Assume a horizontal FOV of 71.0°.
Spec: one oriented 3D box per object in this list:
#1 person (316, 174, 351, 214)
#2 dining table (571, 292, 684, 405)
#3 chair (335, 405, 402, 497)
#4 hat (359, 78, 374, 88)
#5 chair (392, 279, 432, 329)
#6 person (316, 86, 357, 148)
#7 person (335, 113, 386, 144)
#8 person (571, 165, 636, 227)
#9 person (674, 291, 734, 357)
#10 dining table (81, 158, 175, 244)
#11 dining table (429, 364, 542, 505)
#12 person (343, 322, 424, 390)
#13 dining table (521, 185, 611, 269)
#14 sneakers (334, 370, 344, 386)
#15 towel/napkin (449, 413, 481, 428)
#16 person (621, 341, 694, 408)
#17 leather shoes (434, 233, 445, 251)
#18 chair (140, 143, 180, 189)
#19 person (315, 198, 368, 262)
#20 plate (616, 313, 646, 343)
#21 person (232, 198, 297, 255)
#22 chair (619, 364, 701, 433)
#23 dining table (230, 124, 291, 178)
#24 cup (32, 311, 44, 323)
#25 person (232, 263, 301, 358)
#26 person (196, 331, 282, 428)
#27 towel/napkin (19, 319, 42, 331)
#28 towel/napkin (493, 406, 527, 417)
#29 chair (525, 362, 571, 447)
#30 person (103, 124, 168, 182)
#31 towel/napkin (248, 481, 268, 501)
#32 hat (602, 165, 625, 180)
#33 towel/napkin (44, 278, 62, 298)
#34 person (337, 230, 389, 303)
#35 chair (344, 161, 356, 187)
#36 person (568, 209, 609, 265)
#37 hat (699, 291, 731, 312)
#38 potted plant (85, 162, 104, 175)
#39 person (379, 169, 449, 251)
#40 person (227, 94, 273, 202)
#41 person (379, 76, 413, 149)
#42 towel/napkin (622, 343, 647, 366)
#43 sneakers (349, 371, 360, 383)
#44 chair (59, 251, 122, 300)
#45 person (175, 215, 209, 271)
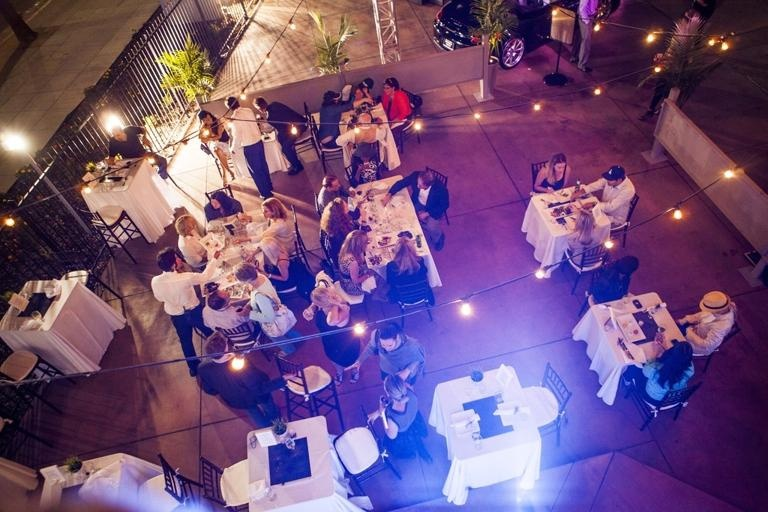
[{"bbox_3d":[-1.063,-1.272,11.354,0.544,1.021,0.517,0,75,1],"label":"person"},{"bbox_3d":[4.268,1.424,9.605,1.822,0.979,1.891,-22,58,12],"label":"dining table"},{"bbox_3d":[-0.249,3.383,9.165,0.870,1.026,1.535,-27,15,-9],"label":"chair"},{"bbox_3d":[-0.433,-4.160,13.184,0.260,0.326,0.240,16,17,11],"label":"hat"},{"bbox_3d":[0.547,0.941,10.470,0.586,1.070,0.695,-8,65,2],"label":"chair"},{"bbox_3d":[-1.141,-3.291,12.978,0.952,1.424,0.690,-37,64,-19],"label":"person"},{"bbox_3d":[-0.489,-2.885,12.552,0.656,0.609,1.145,25,52,40],"label":"person"},{"bbox_3d":[4.495,-1.162,10.970,0.749,1.249,0.575,-19,78,20],"label":"person"},{"bbox_3d":[5.668,1.257,9.496,0.400,1.035,0.514,17,75,13],"label":"person"},{"bbox_3d":[-5.893,-1.186,12.260,1.136,1.404,1.224,18,61,15],"label":"dining table"},{"bbox_3d":[1.724,3.032,9.167,1.588,1.577,1.362,-14,37,1],"label":"dining table"},{"bbox_3d":[0.138,1.819,9.413,1.082,1.778,0.648,17,47,35],"label":"person"},{"bbox_3d":[3.643,-0.608,10.785,1.628,1.239,1.684,-18,62,5],"label":"dining table"},{"bbox_3d":[-0.861,2.306,10.163,0.139,0.130,0.359,1,41,3],"label":"sneakers"},{"bbox_3d":[1.333,2.722,8.843,0.458,0.098,0.222,-7,38,9],"label":"towel/napkin"},{"bbox_3d":[4.678,1.977,9.154,0.489,1.307,0.844,-16,59,13],"label":"person"},{"bbox_3d":[1.202,-0.285,11.586,0.148,0.262,0.433,12,78,20],"label":"leather shoes"},{"bbox_3d":[-5.391,-2.105,12.964,0.329,1.381,0.518,-15,87,-19],"label":"chair"},{"bbox_3d":[-0.861,-0.560,10.594,0.831,1.216,0.644,-7,25,-8],"label":"person"},{"bbox_3d":[4.367,1.293,9.561,0.379,0.280,0.452,-13,37,2],"label":"plate"},{"bbox_3d":[-2.219,-0.559,10.772,1.255,1.222,0.947,-4,57,-33],"label":"person"},{"bbox_3d":[4.791,2.489,9.334,0.692,1.170,0.760,-24,69,5],"label":"chair"},{"bbox_3d":[-2.983,-2.192,13.038,1.201,0.915,1.248,-13,50,-5],"label":"dining table"},{"bbox_3d":[-6.528,1.149,10.107,0.161,0.221,0.108,-62,19,-15],"label":"cup"},{"bbox_3d":[-2.219,1.141,10.040,0.851,2.055,0.790,-6,25,21],"label":"person"},{"bbox_3d":[-2.417,2.229,9.143,1.160,2.141,0.455,0,39,18],"label":"person"},{"bbox_3d":[-6.612,1.293,10.062,0.401,0.140,0.181,-4,39,14],"label":"towel/napkin"},{"bbox_3d":[2.007,2.556,8.871,0.653,0.197,0.185,-1,86,2],"label":"towel/napkin"},{"bbox_3d":[2.845,2.640,9.324,0.726,1.124,0.693,-27,55,-4],"label":"chair"},{"bbox_3d":[-5.951,-2.375,12.722,0.894,1.406,0.822,-48,30,2],"label":"person"},{"bbox_3d":[-1.979,3.693,8.492,0.299,0.165,0.237,-13,37,2],"label":"towel/napkin"},{"bbox_3d":[4.578,-1.593,10.659,0.445,0.277,0.332,4,59,7],"label":"hat"},{"bbox_3d":[-6.461,0.620,10.446,0.237,0.152,0.331,-7,56,-18],"label":"towel/napkin"},{"bbox_3d":[-0.437,0.214,10.331,0.691,1.161,0.499,-27,62,-16],"label":"person"},{"bbox_3d":[-0.777,-1.915,12.901,0.319,0.529,0.555,4,82,5],"label":"chair"},{"bbox_3d":[3.968,-0.349,10.413,0.585,0.823,0.826,-6,61,10],"label":"person"},{"bbox_3d":[5.576,0.794,9.075,0.371,0.158,0.414,-45,27,-12],"label":"hat"},{"bbox_3d":[-6.580,-2.021,12.286,0.345,0.361,0.187,-5,82,-2],"label":"potted plant"},{"bbox_3d":[0.613,-0.891,11.171,1.049,1.547,0.894,43,91,7],"label":"person"},{"bbox_3d":[-3.128,-2.526,12.623,0.748,2.336,1.078,-28,39,-19],"label":"person"},{"bbox_3d":[0.356,-3.403,13.158,0.704,1.641,0.820,-11,37,3],"label":"person"},{"bbox_3d":[4.354,1.711,9.348,0.298,0.083,0.313,-14,59,-7],"label":"towel/napkin"},{"bbox_3d":[-0.572,2.289,10.262,0.114,0.130,0.304,3,31,10],"label":"sneakers"},{"bbox_3d":[-6.337,0.467,11.568,0.510,0.812,0.439,24,77,3],"label":"chair"},{"bbox_3d":[-3.954,-0.217,11.009,0.403,1.090,0.507,-32,78,-15],"label":"person"}]
